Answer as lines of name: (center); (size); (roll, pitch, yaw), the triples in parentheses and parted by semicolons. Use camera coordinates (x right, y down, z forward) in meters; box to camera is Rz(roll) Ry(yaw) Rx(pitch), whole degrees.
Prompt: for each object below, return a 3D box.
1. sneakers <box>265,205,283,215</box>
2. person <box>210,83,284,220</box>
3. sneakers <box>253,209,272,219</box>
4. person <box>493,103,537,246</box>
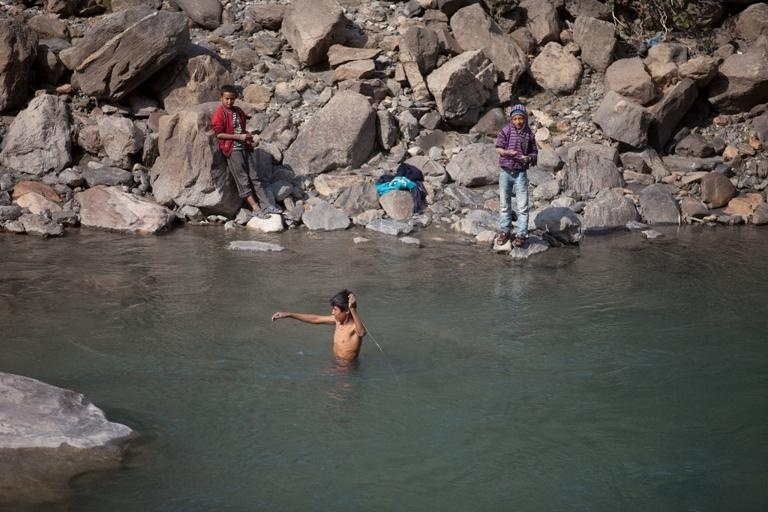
sneakers: (-2.545, -1.076, 24.608); (0.340, 0.129, 0.191); (0, 23, -3)
person: (-3.249, -2.392, 24.194); (1.269, 3.013, 0.793); (-4, 23, -8)
sneakers: (-2.814, -0.955, 24.483); (0.363, 0.157, 0.182); (0, 8, 36)
person: (2.834, -1.720, 22.789); (0.840, 3.121, 0.947); (2, 22, 6)
